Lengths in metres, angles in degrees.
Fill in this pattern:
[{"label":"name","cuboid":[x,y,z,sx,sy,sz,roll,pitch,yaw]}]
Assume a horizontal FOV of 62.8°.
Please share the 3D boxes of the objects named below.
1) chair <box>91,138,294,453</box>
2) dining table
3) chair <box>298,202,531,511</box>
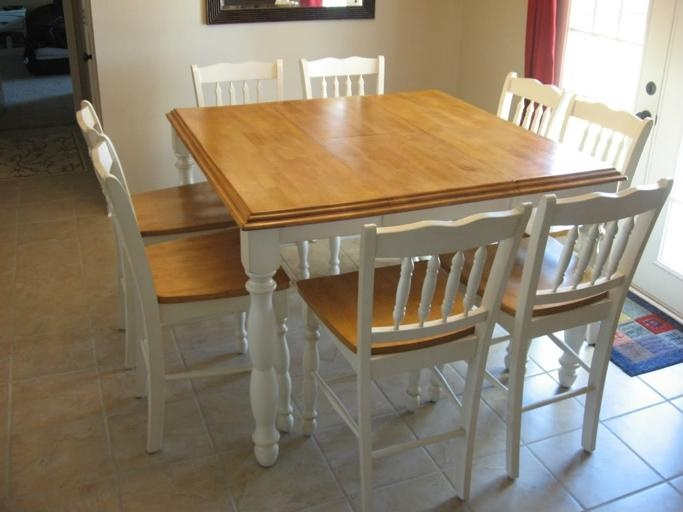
[{"label":"chair","cuboid":[-0.587,0.080,2.248,0.610,1.118,0.785,-9,28,-21]},{"label":"dining table","cuboid":[0.033,-0.393,2.408,1.502,1.030,1.590,-11,34,-21]},{"label":"chair","cuboid":[0.202,0.268,1.973,0.679,1.098,0.663,-1,26,-5]}]
